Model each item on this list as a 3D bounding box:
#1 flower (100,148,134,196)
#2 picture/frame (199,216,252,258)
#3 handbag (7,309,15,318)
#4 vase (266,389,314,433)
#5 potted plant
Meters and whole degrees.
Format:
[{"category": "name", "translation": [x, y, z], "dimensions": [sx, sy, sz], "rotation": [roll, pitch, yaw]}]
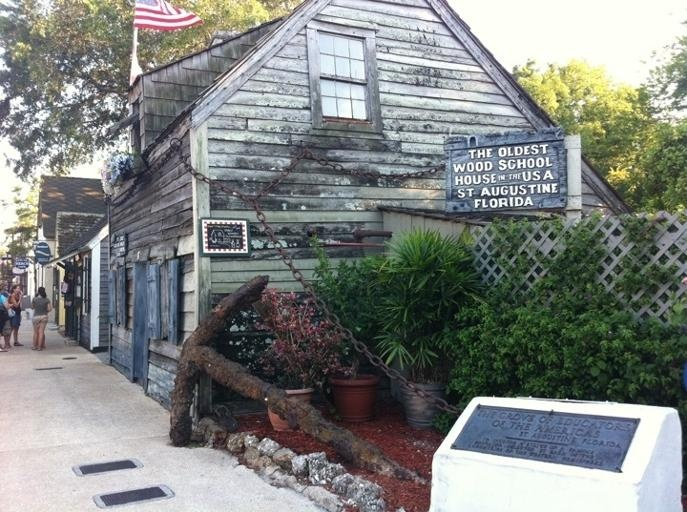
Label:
[{"category": "flower", "translation": [-4.108, -1.511, 11.483], "dimensions": [0.574, 0.679, 1.414], "rotation": [-5, 3, -20]}, {"category": "picture/frame", "translation": [-1.712, -0.264, 8.955], "dimensions": [0.558, 0.441, 0.074], "rotation": [2, -10, -22]}, {"category": "handbag", "translation": [-9.129, 1.565, 17.402], "dimensions": [0.065, 0.177, 0.170], "rotation": [27, -46, -29]}, {"category": "vase", "translation": [-0.692, 1.950, 7.958], "dimensions": [0.563, 0.447, 0.574], "rotation": [1, -11, -1]}, {"category": "potted plant", "translation": [0.792, 0.767, 8.193], "dimensions": [2.137, 2.179, 0.856], "rotation": [-1, 4, 37]}]
